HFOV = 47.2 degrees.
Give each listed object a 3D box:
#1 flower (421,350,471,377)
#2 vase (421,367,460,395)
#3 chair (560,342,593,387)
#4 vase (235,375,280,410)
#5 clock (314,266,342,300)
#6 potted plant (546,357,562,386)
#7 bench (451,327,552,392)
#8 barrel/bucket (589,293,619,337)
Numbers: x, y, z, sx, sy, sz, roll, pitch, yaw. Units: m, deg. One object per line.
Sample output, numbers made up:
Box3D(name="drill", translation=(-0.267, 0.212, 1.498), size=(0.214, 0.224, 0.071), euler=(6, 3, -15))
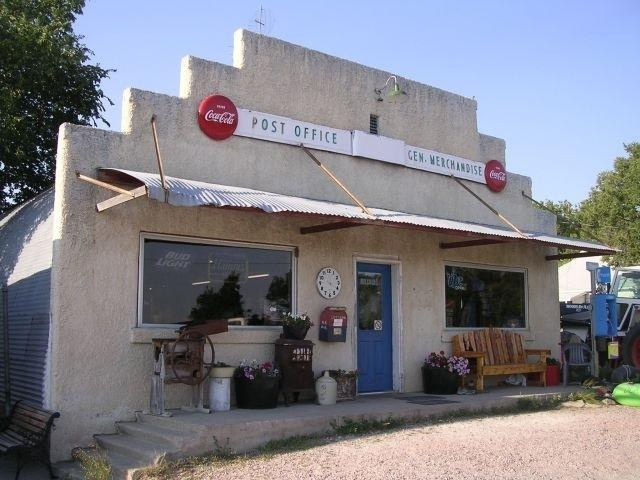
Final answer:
Box3D(name="flower", translation=(2.692, 2.577, 15.219), size=(0.604, 0.381, 0.604), euler=(4, -2, -36))
Box3D(name="vase", translation=(2.480, 2.881, 15.147), size=(0.539, 0.406, 0.581), euler=(-2, -8, 20))
Box3D(name="chair", translation=(6.109, 2.949, 17.569), size=(0.867, 1.364, 0.937), euler=(0, -2, 10))
Box3D(name="vase", translation=(-1.192, 2.729, 13.111), size=(0.848, 0.611, 0.881), euler=(4, -10, -24))
Box3D(name="clock", translation=(0.142, 0.855, 14.393), size=(0.094, 0.613, 0.568), euler=(-9, -10, 43))
Box3D(name="potted plant", translation=(5.444, 3.076, 17.020), size=(0.430, 0.413, 0.506), euler=(-1, -7, 13))
Box3D(name="bench", translation=(4.023, 2.678, 16.367), size=(2.368, 1.395, 0.814), euler=(7, -11, -34))
Box3D(name="barrel/bucket", translation=(6.740, 1.786, 17.389), size=(0.345, 1.023, 0.866), euler=(-7, -12, 44))
